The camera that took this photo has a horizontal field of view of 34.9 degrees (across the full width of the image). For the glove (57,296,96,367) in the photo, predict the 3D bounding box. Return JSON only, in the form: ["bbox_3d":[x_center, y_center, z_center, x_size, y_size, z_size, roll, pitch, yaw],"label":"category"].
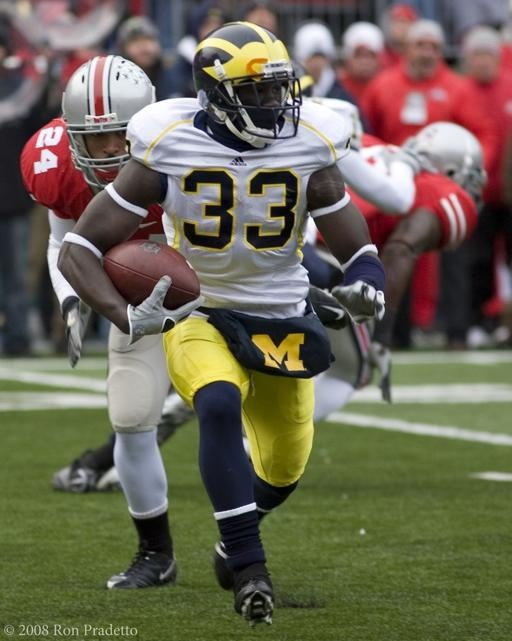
[{"bbox_3d":[-0.377,0.011,1.680,0.066,0.184,0.077,13,-44,-25],"label":"glove"}]

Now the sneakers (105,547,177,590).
[{"bbox_3d":[-0.250,0.553,1.800,0.055,0.058,0.160,-7,-10,41],"label":"sneakers"}]

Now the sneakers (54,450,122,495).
[{"bbox_3d":[-0.565,0.514,2.736,0.095,0.102,0.260,-15,-18,42],"label":"sneakers"}]

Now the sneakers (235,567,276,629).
[{"bbox_3d":[-0.011,0.469,1.375,0.050,0.055,0.123,1,8,-7],"label":"sneakers"}]

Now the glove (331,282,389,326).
[{"bbox_3d":[0.204,-0.036,1.584,0.087,0.038,0.086,6,-23,46],"label":"glove"}]

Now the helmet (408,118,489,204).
[{"bbox_3d":[0.686,-0.567,2.859,0.341,0.273,0.247,9,19,-1],"label":"helmet"}]

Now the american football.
[{"bbox_3d":[-0.196,-0.091,1.514,0.178,0.091,0.114,18,7,-14],"label":"american football"}]

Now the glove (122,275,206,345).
[{"bbox_3d":[-0.186,-0.021,1.542,0.141,0.101,0.053,-34,-9,-25],"label":"glove"}]

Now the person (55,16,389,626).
[{"bbox_3d":[-0.038,-0.030,1.595,0.552,1.143,0.389,0,-3,-41],"label":"person"}]
